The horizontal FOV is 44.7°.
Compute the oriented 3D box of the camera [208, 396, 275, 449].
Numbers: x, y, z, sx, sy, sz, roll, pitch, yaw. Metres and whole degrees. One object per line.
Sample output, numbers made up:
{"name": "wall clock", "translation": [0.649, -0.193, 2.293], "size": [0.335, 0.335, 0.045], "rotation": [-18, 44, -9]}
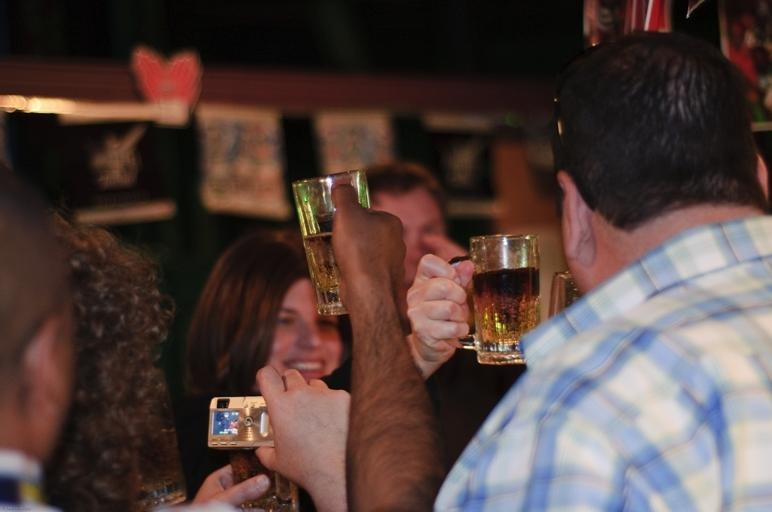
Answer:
{"name": "camera", "translation": [-0.373, 0.450, 2.511], "size": [0.187, 0.124, 0.116], "rotation": [-2, -16, 7]}

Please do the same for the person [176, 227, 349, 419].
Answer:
{"name": "person", "translation": [-0.434, 0.173, 3.512], "size": [0.634, 0.851, 0.672], "rotation": [-4, 7, -19]}
